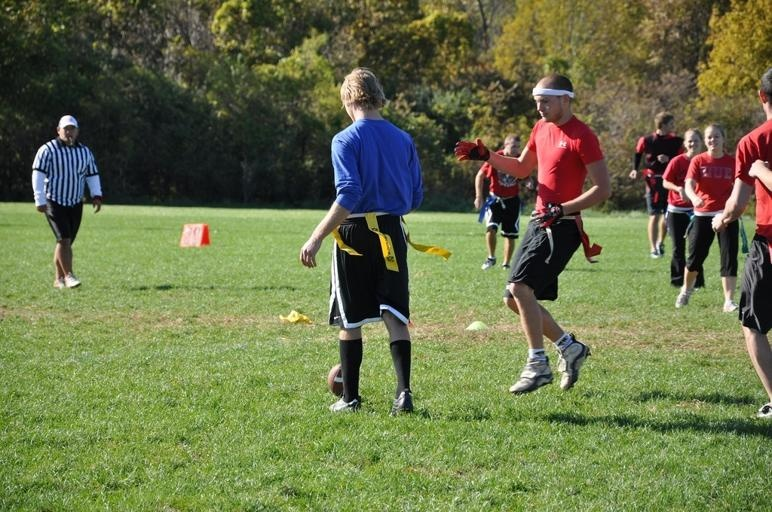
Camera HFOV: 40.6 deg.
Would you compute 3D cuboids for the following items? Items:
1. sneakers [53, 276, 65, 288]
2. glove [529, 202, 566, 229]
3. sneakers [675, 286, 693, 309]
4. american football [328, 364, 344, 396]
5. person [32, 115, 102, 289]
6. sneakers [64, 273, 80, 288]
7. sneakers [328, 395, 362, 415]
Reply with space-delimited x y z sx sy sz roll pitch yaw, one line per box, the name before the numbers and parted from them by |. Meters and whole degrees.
sneakers | -6.513 0.532 20.883 0.114 0.248 0.421 5 -1 -25
glove | 2.619 -0.659 16.828 0.510 0.376 0.171 2 5 11
sneakers | 5.789 0.814 20.275 0.196 0.561 0.246 24 4 19
american football | -0.785 1.999 16.664 0.308 0.394 0.337 -11 -34 -5
person | -6.444 -1.134 21.149 1.251 3.414 0.946 -2 6 -29
sneakers | -6.250 0.496 20.875 0.318 0.267 0.229 -1 6 -20
sneakers | -0.641 2.359 16.318 0.408 0.203 0.217 0 -4 5
